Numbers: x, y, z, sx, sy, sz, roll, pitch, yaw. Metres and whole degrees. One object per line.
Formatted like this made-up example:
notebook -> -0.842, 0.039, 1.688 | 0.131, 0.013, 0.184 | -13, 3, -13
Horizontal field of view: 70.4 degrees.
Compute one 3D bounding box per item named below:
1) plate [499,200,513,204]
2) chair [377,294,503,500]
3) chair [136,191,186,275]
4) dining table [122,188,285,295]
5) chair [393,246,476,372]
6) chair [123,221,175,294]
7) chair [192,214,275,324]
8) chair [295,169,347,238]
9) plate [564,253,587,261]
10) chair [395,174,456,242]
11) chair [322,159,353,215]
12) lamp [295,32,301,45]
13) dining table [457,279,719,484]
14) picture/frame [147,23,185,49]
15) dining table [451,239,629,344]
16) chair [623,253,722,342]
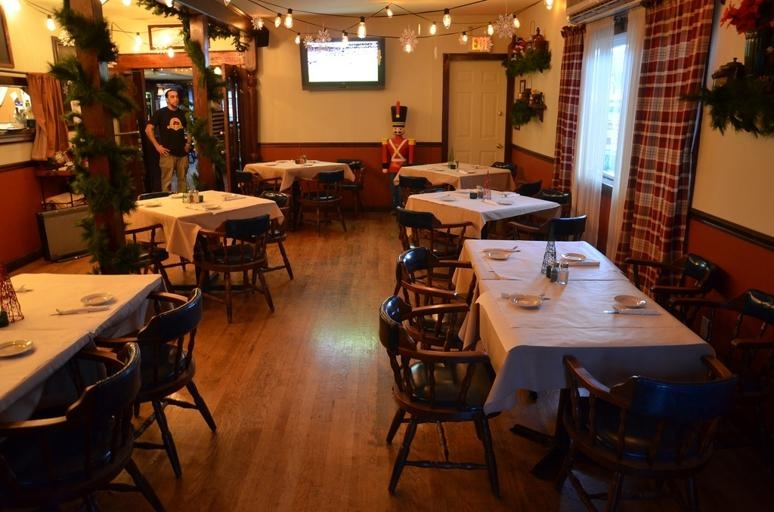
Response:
plate -> 1.277, -0.588, 5.966 | 0.092, 0.023, 0.094 | 13, 20, 43
chair -> 0.292, 0.691, 3.904 | 0.984, 1.530, 1.135 | -2, 23, 2
chair -> -2.281, -0.244, 5.521 | 0.473, 0.751, 0.548 | -17, 35, -30
dining table -> -1.886, -0.355, 5.712 | 1.097, 0.575, 1.003 | 14, 21, 36
chair -> 0.305, 0.361, 4.298 | 0.719, 1.036, 0.762 | 5, 24, 17
chair -> -2.161, -0.009, 4.962 | 0.411, 0.616, 0.451 | -4, 29, -10
chair -> -1.529, 0.129, 5.423 | 0.682, 0.951, 0.624 | -12, 36, -29
chair -> -1.032, -0.803, 8.466 | 0.672, 0.939, 0.607 | -18, 34, -38
plate -> 1.481, 0.008, 4.329 | 0.119, 0.022, 0.099 | 16, 23, 42
chair -> 0.412, -0.860, 7.777 | 0.499, 0.737, 0.556 | -9, 19, -20
chair -> -0.780, -0.985, 8.651 | 0.537, 0.893, 1.367 | -5, 17, -3
lamp -> -1.477, -3.614, 9.106 | 0.134, 0.182, 0.350 | -7, 18, -8
dining table -> 1.202, 0.632, 3.463 | 1.070, 0.666, 1.302 | -1, 19, -4
picture/frame -> -3.669, -3.628, 9.112 | 0.575, 0.392, 0.172 | -1, 17, 11
dining table -> 1.055, 0.235, 3.798 | 0.754, 0.292, 1.064 | 2, 25, 5
chair -> 2.335, 0.235, 4.457 | 0.550, 0.706, 0.566 | 0, 27, 7
